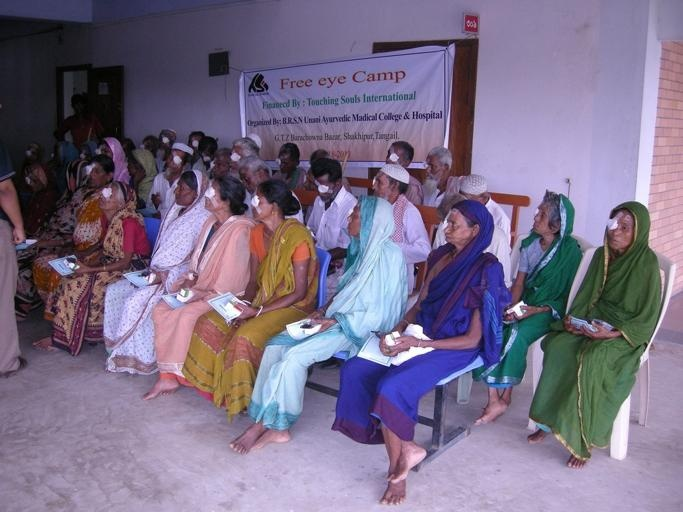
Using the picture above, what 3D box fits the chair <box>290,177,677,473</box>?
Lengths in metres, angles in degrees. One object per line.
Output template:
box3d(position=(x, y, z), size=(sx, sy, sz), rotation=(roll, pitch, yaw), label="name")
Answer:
box3d(position=(0.883, 0.511, 3.436), size=(1.666, 1.220, 0.604), rotation=(7, 8, 44), label="chair")

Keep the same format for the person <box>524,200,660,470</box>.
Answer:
box3d(position=(1.603, 0.449, 3.270), size=(0.865, 1.487, 0.561), rotation=(-13, 18, -42), label="person")

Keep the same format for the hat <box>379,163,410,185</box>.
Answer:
box3d(position=(0.425, -0.686, 4.214), size=(0.177, 0.074, 0.178), rotation=(17, 20, -37), label="hat")

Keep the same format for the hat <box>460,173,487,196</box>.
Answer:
box3d(position=(1.056, -0.599, 4.202), size=(0.162, 0.115, 0.175), rotation=(0, 22, -6), label="hat")

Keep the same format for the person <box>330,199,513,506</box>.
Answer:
box3d(position=(0.465, 0.459, 3.109), size=(1.033, 1.520, 0.635), rotation=(-10, 17, -37), label="person")
